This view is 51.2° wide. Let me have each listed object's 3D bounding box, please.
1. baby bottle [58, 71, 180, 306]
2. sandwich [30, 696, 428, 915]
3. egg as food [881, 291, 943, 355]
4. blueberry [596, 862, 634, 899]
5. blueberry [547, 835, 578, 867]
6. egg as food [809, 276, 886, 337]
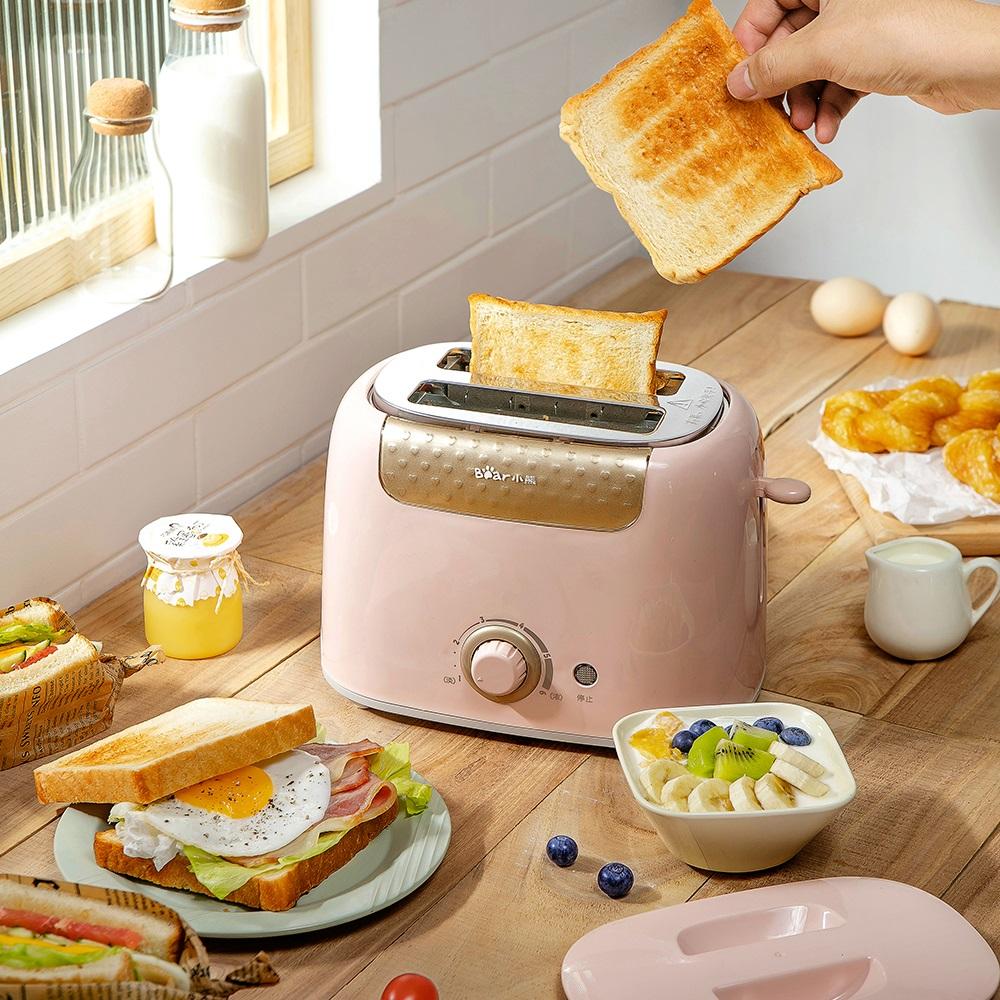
[{"bbox_3d":[-0.328,-0.267,0.891,0.138,0.203,0.095,1,39,-9],"label":"baby bottle"},{"bbox_3d":[-0.161,0.166,0.594,0.155,0.037,0.142,10,17,26],"label":"sandwich"},{"bbox_3d":[0.505,-0.212,1.318,0.096,0.084,0.083,0,-8,15],"label":"egg as food"},{"bbox_3d":[0.064,0.213,0.586,0.024,0.016,0.020,5,27,11],"label":"blueberry"},{"bbox_3d":[0.037,0.206,0.619,0.018,0.018,0.019,-17,34,-16],"label":"blueberry"},{"bbox_3d":[0.450,-0.247,1.360,0.113,0.070,0.061,-2,71,-1],"label":"egg as food"}]
